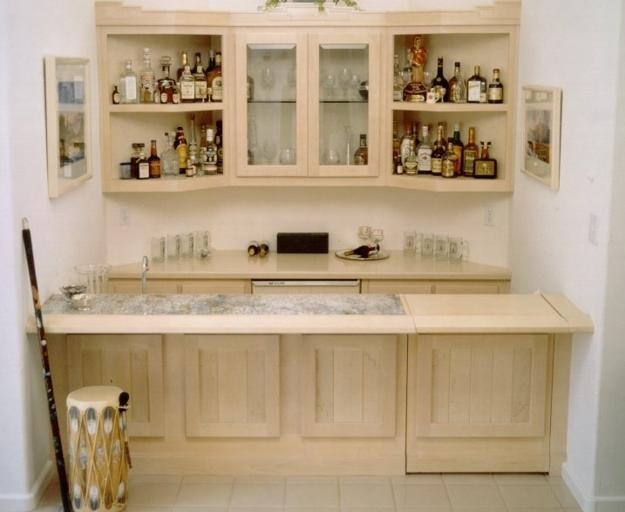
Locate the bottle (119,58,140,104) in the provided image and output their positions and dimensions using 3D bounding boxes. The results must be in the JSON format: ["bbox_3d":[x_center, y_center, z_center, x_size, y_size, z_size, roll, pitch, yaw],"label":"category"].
[{"bbox_3d":[-1.328,-1.254,4.633,0.159,0.307,0.158,-2,10,0],"label":"bottle"}]

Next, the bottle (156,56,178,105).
[{"bbox_3d":[-1.060,-1.280,4.665,0.144,0.347,0.303,-5,11,-13],"label":"bottle"}]

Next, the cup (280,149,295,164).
[{"bbox_3d":[-0.191,-0.739,4.771,0.100,0.122,0.108,0,3,0],"label":"cup"}]

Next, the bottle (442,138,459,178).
[{"bbox_3d":[1.017,-0.722,4.732,0.114,0.268,0.236,0,11,13],"label":"bottle"}]

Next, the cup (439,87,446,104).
[{"bbox_3d":[0.942,-1.171,4.645,0.041,0.106,0.161,1,12,19],"label":"cup"}]

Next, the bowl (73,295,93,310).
[{"bbox_3d":[-1.220,0.240,3.416,0.079,0.063,0.085,1,1,0],"label":"bowl"}]

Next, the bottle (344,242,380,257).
[{"bbox_3d":[0.352,-0.054,4.985,0.313,0.147,0.105,1,2,-8],"label":"bottle"}]

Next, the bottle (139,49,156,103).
[{"bbox_3d":[-1.217,-1.325,4.699,0.121,0.398,0.168,-5,10,-14],"label":"bottle"}]

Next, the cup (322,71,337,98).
[{"bbox_3d":[0.121,-1.246,4.701,0.145,0.250,0.138,-1,9,0],"label":"cup"}]

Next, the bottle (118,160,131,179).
[{"bbox_3d":[-1.368,-0.644,4.732,0.095,0.125,0.103,0,5,0],"label":"bottle"}]

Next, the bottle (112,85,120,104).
[{"bbox_3d":[-1.422,-1.164,4.621,0.057,0.133,0.071,-8,12,-30],"label":"bottle"}]

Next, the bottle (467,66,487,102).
[{"bbox_3d":[1.171,-1.221,4.571,0.126,0.252,0.061,-4,10,-7],"label":"bottle"}]

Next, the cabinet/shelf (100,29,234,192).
[{"bbox_3d":[-1.085,-1.090,4.701,0.954,1.274,0.359,0,14,-4],"label":"cabinet/shelf"}]

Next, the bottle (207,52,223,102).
[{"bbox_3d":[-0.734,-1.332,4.759,0.108,0.368,0.143,5,10,38],"label":"bottle"}]

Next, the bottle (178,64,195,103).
[{"bbox_3d":[-0.917,-1.260,4.669,0.115,0.266,0.154,-5,11,-11],"label":"bottle"}]

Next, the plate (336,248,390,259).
[{"bbox_3d":[0.388,-0.008,5.009,0.428,0.054,0.252,-3,12,3],"label":"plate"}]

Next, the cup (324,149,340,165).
[{"bbox_3d":[0.146,-0.738,4.789,0.098,0.106,0.102,-2,7,0],"label":"cup"}]

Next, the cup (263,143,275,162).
[{"bbox_3d":[-0.322,-0.762,4.726,0.072,0.132,0.064,-4,6,-2],"label":"cup"}]

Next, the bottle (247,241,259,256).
[{"bbox_3d":[-0.474,-0.069,5.065,0.091,0.095,0.098,11,41,-16],"label":"bottle"}]

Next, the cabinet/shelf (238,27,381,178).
[{"bbox_3d":[-0.038,-1.179,4.700,0.874,0.951,0.311,0,8,-1],"label":"cabinet/shelf"}]

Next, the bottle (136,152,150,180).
[{"bbox_3d":[-1.248,-0.662,4.725,0.089,0.171,0.173,-5,11,-15],"label":"bottle"}]

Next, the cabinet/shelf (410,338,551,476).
[{"bbox_3d":[0.915,0.736,3.643,0.772,0.827,0.457,-1,10,4],"label":"cabinet/shelf"}]

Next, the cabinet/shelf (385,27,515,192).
[{"bbox_3d":[1.021,-1.090,4.675,0.979,1.366,0.440,0,6,3],"label":"cabinet/shelf"}]

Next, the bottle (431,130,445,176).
[{"bbox_3d":[0.943,-0.797,4.792,0.127,0.400,0.135,-5,43,5],"label":"bottle"}]

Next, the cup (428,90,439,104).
[{"bbox_3d":[0.850,-1.129,4.567,0.092,0.091,0.060,-1,5,-12],"label":"cup"}]

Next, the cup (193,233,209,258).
[{"bbox_3d":[-0.879,-0.095,5.072,0.119,0.181,0.202,-1,11,7],"label":"cup"}]

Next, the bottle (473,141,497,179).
[{"bbox_3d":[1.265,-0.699,4.680,0.153,0.263,0.144,-2,10,0],"label":"bottle"}]

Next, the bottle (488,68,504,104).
[{"bbox_3d":[1.303,-1.210,4.575,0.094,0.245,0.105,5,13,37],"label":"bottle"}]

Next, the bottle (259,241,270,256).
[{"bbox_3d":[-0.380,-0.057,5.037,0.068,0.094,0.079,5,16,-1],"label":"bottle"}]
